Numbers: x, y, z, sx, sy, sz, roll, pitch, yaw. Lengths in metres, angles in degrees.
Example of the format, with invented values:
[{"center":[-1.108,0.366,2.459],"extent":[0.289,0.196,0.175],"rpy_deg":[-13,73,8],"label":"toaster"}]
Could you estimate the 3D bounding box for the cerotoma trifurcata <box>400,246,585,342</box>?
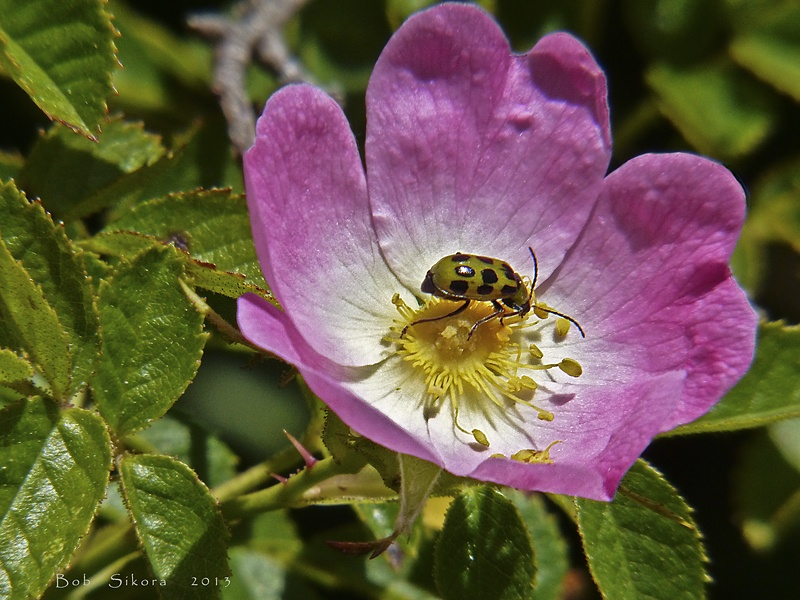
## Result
[{"center":[0.251,-0.048,2.810],"extent":[0.542,0.158,0.349],"rpy_deg":[11,37,-8],"label":"cerotoma trifurcata"}]
